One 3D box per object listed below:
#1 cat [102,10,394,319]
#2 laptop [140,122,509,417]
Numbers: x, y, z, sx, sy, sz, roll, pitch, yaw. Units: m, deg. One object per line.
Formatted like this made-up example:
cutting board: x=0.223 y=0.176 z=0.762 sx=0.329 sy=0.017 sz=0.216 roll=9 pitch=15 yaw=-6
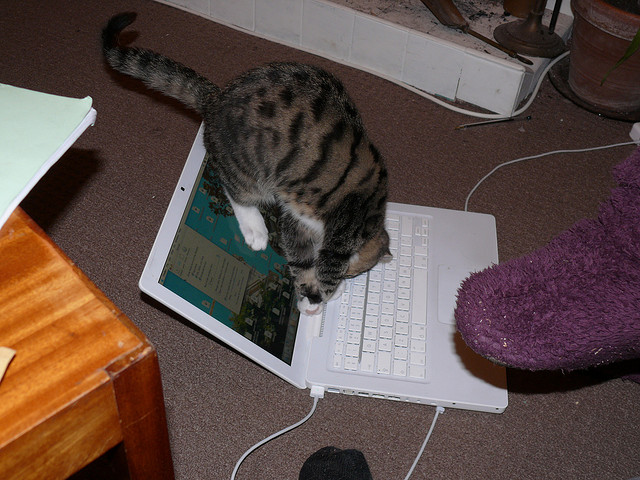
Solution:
cat: x=-0.152 y=-0.275 z=1.280 sx=0.877 sy=0.408 sz=0.333 roll=49 pitch=44 yaw=1
laptop: x=0.049 y=0.114 z=1.112 sx=0.662 sy=0.345 sz=0.563 roll=6 pitch=57 yaw=8
